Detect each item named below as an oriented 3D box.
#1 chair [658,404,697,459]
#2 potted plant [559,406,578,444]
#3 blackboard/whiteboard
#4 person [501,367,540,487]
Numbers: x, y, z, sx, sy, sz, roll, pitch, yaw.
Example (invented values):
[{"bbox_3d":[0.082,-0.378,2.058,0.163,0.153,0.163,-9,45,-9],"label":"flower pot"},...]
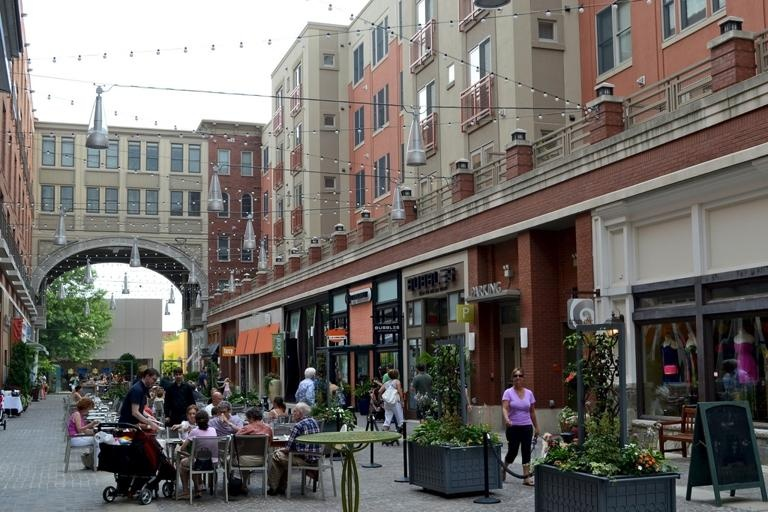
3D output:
[{"bbox_3d":[7.477,4.586,24.869,0.519,1.039,1.444,3,-10,3],"label":"chair"},{"bbox_3d":[4.343,3.992,22.703,0.660,0.771,0.679,2,-9,2],"label":"potted plant"},{"bbox_3d":[7.620,4.348,21.463,1.414,2.163,0.469,-1,1,-10],"label":"blackboard/whiteboard"},{"bbox_3d":[3.330,4.230,23.682,0.922,2.592,1.161,1,-3,-17],"label":"person"}]
